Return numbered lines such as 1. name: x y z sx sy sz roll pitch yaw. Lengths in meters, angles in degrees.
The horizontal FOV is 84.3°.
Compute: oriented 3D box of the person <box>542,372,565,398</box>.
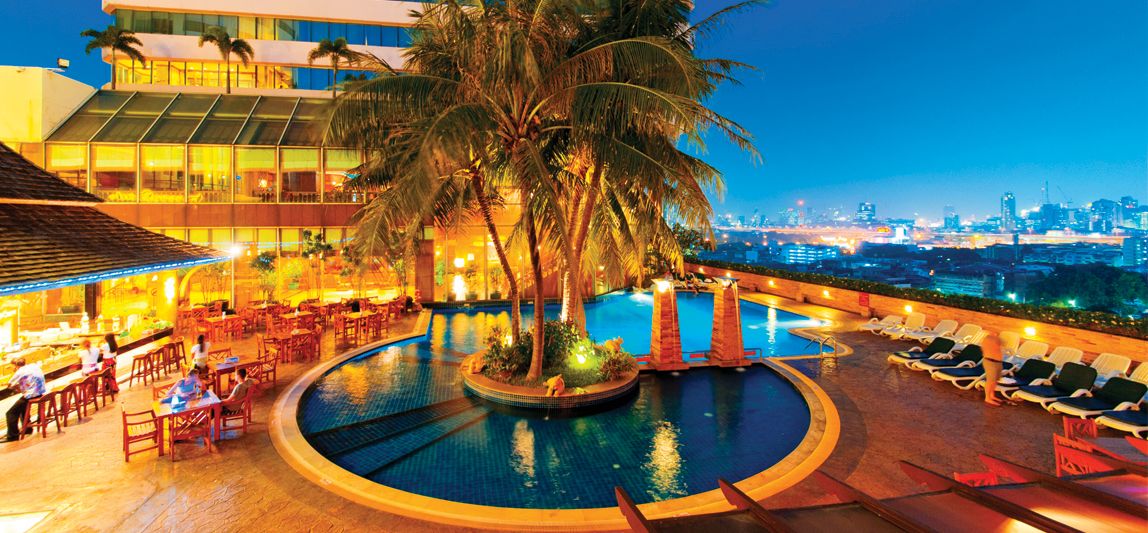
1. person: -1.307 7.974 42.521 1.459 1.242 0.581 -1 -13 10
